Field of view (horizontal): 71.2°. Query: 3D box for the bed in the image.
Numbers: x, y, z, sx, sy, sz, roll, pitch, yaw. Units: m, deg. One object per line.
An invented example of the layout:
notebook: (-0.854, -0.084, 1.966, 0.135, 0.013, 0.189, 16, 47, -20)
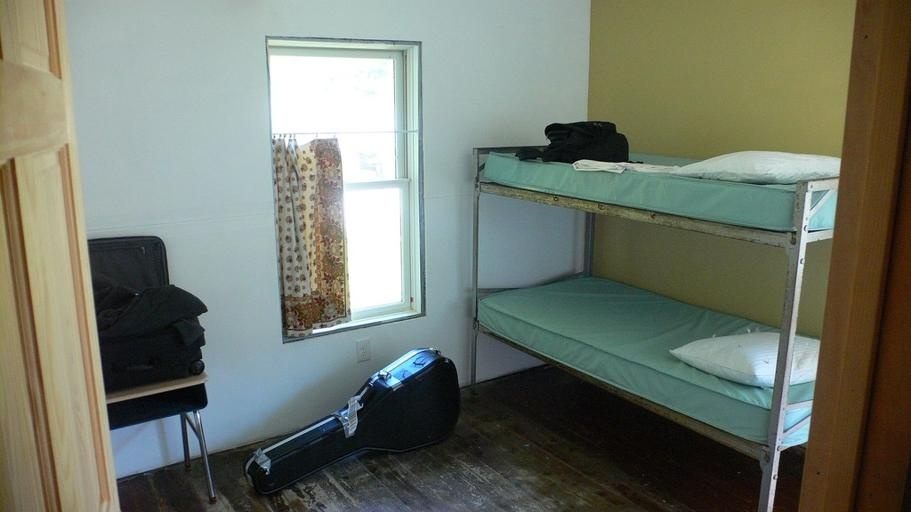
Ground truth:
bed: (1.088, 0.423, 3.534, 1.015, 1.377, 2.035, -6, 12, -29)

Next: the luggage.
luggage: (-1.550, 0.249, 3.138, 0.651, 0.785, 0.279, -9, -10, -33)

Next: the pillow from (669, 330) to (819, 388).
pillow: (1.447, 0.502, 3.155, 0.622, 0.160, 0.522, -7, 4, -22)

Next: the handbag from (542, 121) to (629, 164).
handbag: (0.809, -0.685, 3.874, 0.389, 0.138, 0.360, -3, 13, -18)

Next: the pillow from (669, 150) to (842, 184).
pillow: (1.495, -0.410, 3.017, 0.631, 0.098, 0.483, -2, 9, -7)
